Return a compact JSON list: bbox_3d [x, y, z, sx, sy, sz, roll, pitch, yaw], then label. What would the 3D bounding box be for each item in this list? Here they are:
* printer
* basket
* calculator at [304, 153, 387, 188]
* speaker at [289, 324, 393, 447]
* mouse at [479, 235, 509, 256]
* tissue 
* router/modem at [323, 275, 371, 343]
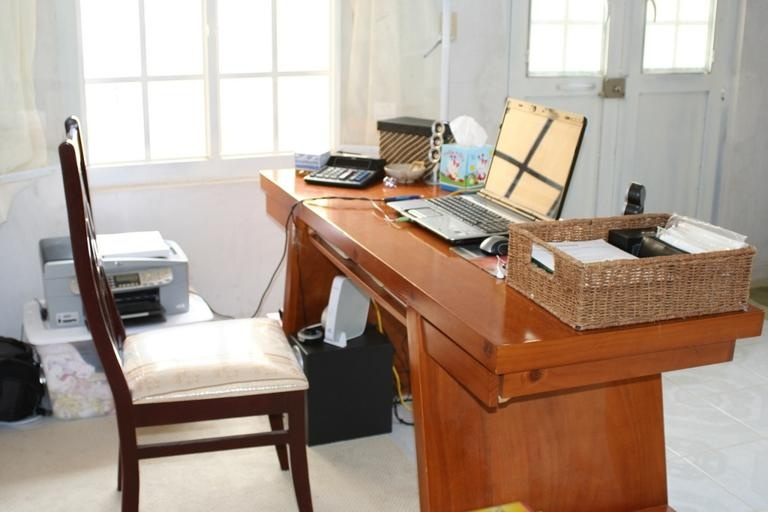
[{"bbox_3d":[-1.269,0.066,2.802,0.653,0.438,0.489,-8,19,-27],"label":"printer"},{"bbox_3d":[0.613,-0.011,1.756,0.562,0.353,0.625,-4,11,-21],"label":"basket"},{"bbox_3d":[-0.167,-0.392,2.723,0.209,0.086,0.263,8,18,26],"label":"calculator"},{"bbox_3d":[-0.195,0.583,2.886,0.488,0.495,0.473,-3,2,-3],"label":"speaker"},{"bbox_3d":[0.350,-0.036,1.930,0.082,0.027,0.057,-8,17,-33],"label":"mouse"},{"bbox_3d":[0.364,-0.435,2.584,0.157,0.356,0.184,-9,20,-30],"label":"tissue "},{"bbox_3d":[-0.163,0.242,2.633,0.225,0.306,0.177,-14,24,-42],"label":"router/modem"}]
